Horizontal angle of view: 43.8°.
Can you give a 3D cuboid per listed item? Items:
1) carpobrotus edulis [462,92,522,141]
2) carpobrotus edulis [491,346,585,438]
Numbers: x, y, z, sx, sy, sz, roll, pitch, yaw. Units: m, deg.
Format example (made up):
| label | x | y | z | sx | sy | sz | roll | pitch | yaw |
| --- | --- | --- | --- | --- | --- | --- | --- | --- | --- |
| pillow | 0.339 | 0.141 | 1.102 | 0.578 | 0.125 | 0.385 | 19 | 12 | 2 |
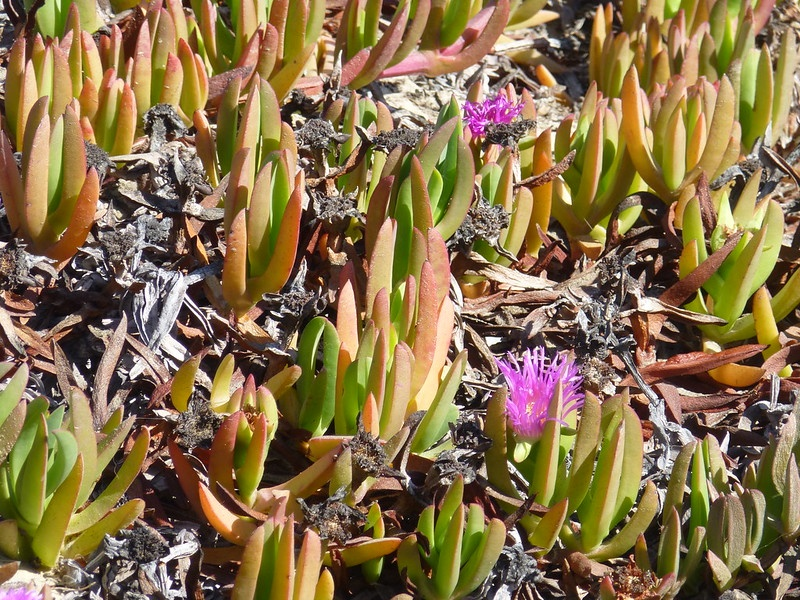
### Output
| label | x | y | z | sx | sy | sz | roll | pitch | yaw |
| --- | --- | --- | --- | --- | --- | --- | --- | --- | --- |
| carpobrotus edulis | 0.253 | -0.526 | 2.837 | 0.119 | 0.080 | 0.136 | -2 | -6 | 25 |
| carpobrotus edulis | 0.340 | 0.209 | 2.270 | 0.138 | 0.131 | 0.139 | 4 | 2 | 17 |
